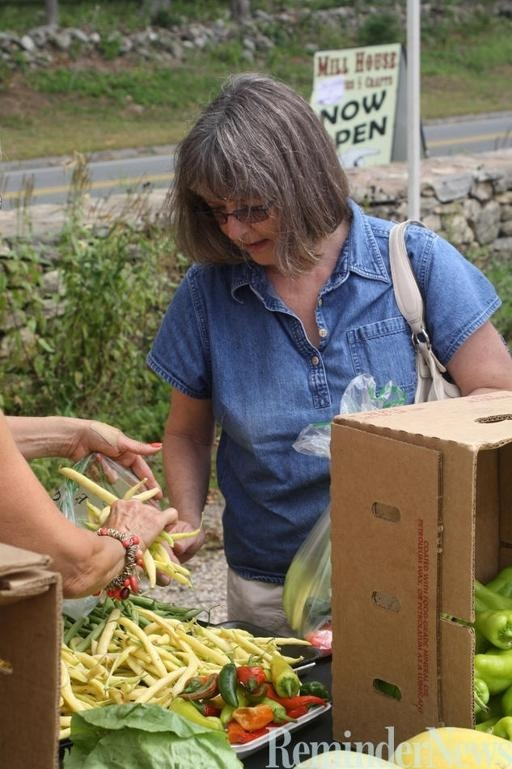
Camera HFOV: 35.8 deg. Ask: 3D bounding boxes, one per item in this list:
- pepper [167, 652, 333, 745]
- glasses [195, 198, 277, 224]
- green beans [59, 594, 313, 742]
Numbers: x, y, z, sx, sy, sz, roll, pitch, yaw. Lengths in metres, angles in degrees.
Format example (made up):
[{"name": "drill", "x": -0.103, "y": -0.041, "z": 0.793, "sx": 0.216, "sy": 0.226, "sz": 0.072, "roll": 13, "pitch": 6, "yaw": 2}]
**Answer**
[{"name": "pepper", "x": -0.016, "y": 0.550, "z": 1.377, "sx": 0.211, "sy": 0.102, "sz": 0.206, "roll": 6, "pitch": 7, "yaw": 4}, {"name": "glasses", "x": -0.044, "y": -0.400, "z": 1.864, "sx": 0.166, "sy": 0.054, "sz": 0.051, "roll": 13, "pitch": 21, "yaw": 40}, {"name": "green beans", "x": -0.138, "y": 0.526, "z": 1.465, "sx": 0.332, "sy": 0.046, "sz": 0.315, "roll": 3, "pitch": 17, "yaw": 10}]
